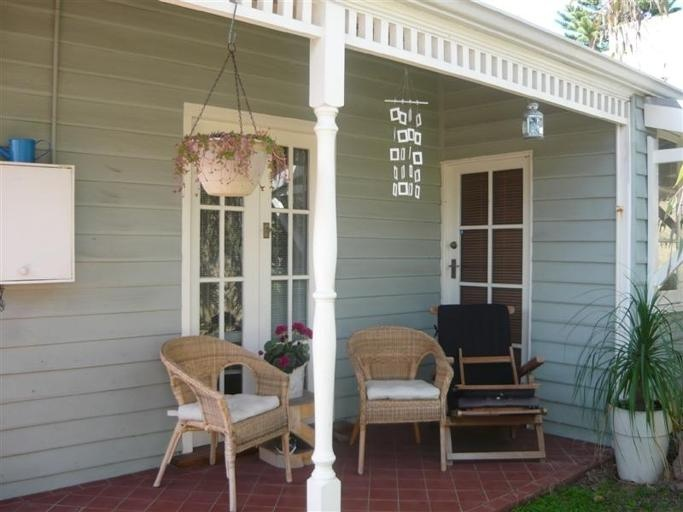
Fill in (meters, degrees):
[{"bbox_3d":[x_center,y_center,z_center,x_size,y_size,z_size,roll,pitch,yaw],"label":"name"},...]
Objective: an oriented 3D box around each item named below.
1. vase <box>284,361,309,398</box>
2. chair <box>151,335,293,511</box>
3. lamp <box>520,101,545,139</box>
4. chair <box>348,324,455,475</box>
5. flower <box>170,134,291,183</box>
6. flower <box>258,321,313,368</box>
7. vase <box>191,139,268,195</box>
[{"bbox_3d":[-0.354,1.007,4.512,0.231,0.198,0.230,3,4,28],"label":"vase"},{"bbox_3d":[-0.806,1.110,4.312,1.016,1.338,1.061,-1,-2,35],"label":"chair"},{"bbox_3d":[1.657,-1.181,4.765,0.157,0.333,0.725,4,6,17],"label":"lamp"},{"bbox_3d":[0.540,1.158,4.731,0.950,1.320,0.998,1,-13,-4],"label":"chair"},{"bbox_3d":[-0.708,-0.665,3.517,0.484,0.214,0.380,-4,9,-22],"label":"flower"},{"bbox_3d":[-0.460,0.739,4.516,0.378,0.264,0.378,4,-10,-23],"label":"flower"},{"bbox_3d":[-0.758,-0.577,3.692,0.502,0.319,0.500,1,12,-19],"label":"vase"}]
